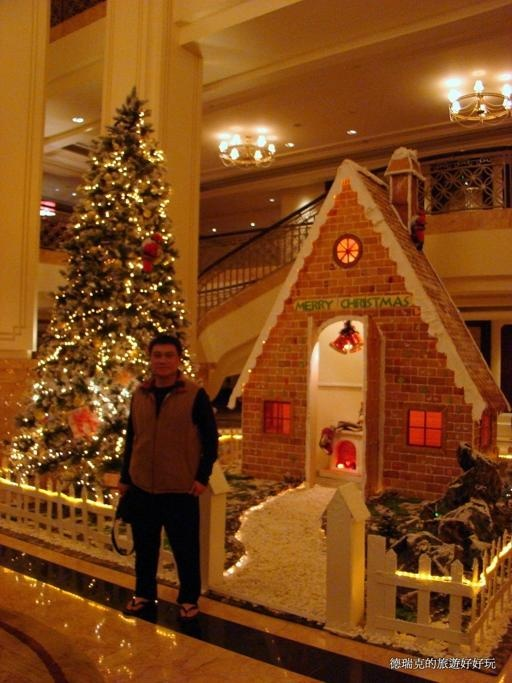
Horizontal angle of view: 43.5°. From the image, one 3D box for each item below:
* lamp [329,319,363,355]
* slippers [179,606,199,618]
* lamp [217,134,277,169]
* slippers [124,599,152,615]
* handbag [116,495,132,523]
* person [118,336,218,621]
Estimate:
[{"bbox_3d":[1.034,-0.016,7.731,0.426,0.377,0.386,0,0,0],"label":"lamp"},{"bbox_3d":[-0.355,1.438,3.410,0.083,0.022,0.105,3,-4,-3],"label":"slippers"},{"bbox_3d":[-0.088,-3.718,12.394,0.941,0.417,0.925,1,1,-43],"label":"lamp"},{"bbox_3d":[-0.633,1.436,3.465,0.126,0.038,0.071,-4,-5,39],"label":"slippers"},{"bbox_3d":[-0.703,0.897,3.439,0.098,0.125,0.149,1,-4,-14],"label":"handbag"},{"bbox_3d":[-0.470,0.718,3.463,0.537,1.497,0.303,3,-4,8],"label":"person"}]
